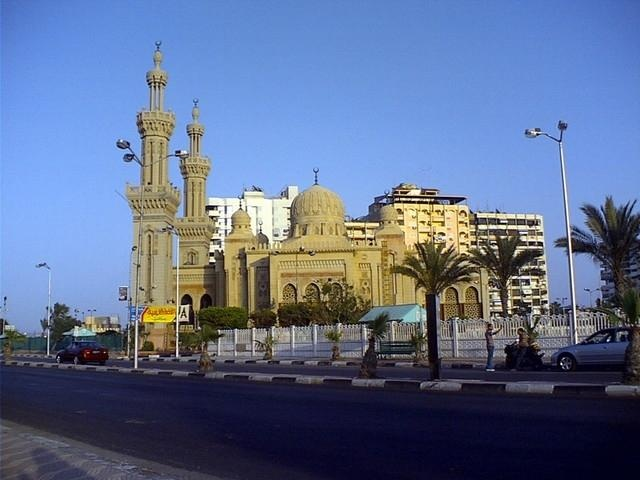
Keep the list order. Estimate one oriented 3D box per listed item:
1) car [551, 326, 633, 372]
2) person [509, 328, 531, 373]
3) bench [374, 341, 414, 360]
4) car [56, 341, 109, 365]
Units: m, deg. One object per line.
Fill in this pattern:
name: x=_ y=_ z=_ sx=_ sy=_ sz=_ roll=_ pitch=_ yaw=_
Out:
car: x=7.775 y=3.142 z=22.958 sx=2.235 sy=1.104 sz=1.122 roll=-7 pitch=-20 yaw=30
person: x=6.282 y=3.386 z=24.891 sx=0.552 sy=1.241 sz=1.468 roll=-3 pitch=-5 yaw=16
bench: x=3.212 y=4.600 z=33.392 sx=1.695 sy=0.726 sz=1.033 roll=-3 pitch=-5 yaw=15
car: x=-10.816 y=5.087 z=36.222 sx=1.154 sy=0.834 sz=2.483 roll=12 pitch=-12 yaw=-42
